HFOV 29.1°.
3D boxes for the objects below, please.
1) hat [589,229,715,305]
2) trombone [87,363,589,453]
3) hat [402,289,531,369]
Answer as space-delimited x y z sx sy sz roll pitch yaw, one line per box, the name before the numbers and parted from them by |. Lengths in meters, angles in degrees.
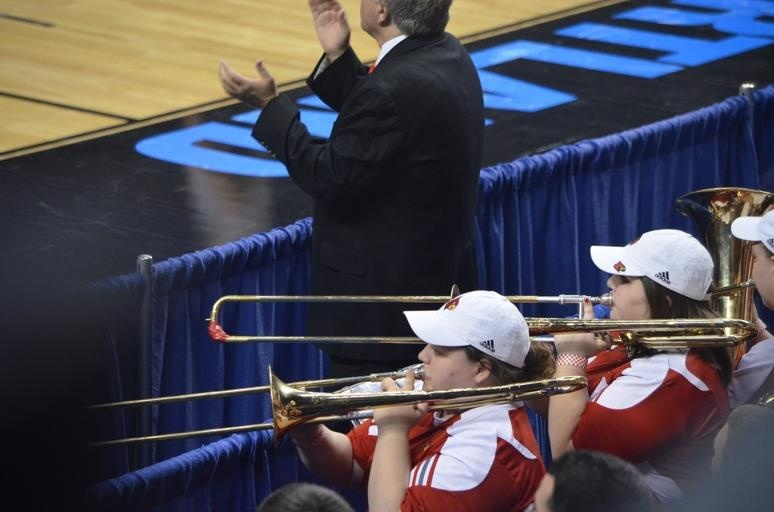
hat | 1.448 0.017 8.350 0.499 0.444 0.841 5 21 -1
trombone | -0.244 0.766 7.798 2.372 0.265 0.361 -5 -14 -5
hat | 0.419 0.381 7.877 0.657 0.386 0.208 1 12 2
